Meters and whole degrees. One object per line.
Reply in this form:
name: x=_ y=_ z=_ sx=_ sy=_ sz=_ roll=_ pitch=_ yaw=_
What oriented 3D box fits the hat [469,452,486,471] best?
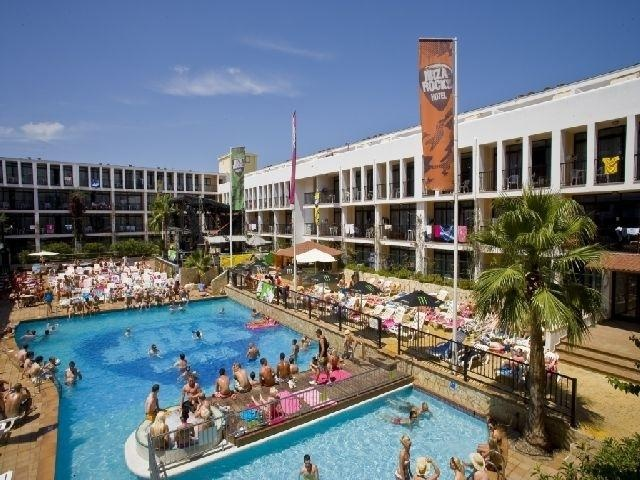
hat: x=4.654 y=6.553 z=13.330 sx=0.385 sy=0.446 sz=0.273 roll=-2 pitch=1 yaw=21

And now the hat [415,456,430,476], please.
hat: x=3.030 y=6.730 z=13.343 sx=0.367 sy=0.620 sz=0.351 roll=-1 pitch=1 yaw=16
